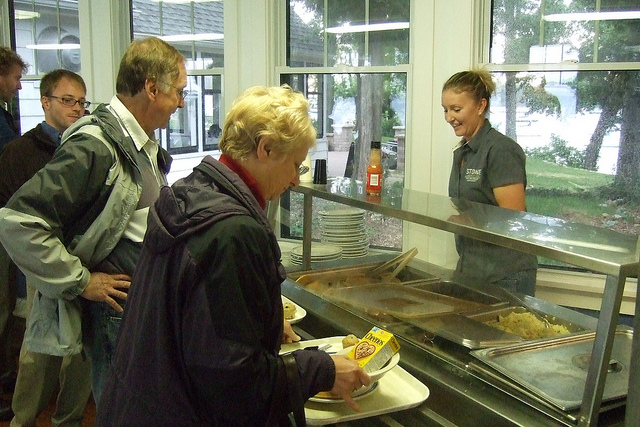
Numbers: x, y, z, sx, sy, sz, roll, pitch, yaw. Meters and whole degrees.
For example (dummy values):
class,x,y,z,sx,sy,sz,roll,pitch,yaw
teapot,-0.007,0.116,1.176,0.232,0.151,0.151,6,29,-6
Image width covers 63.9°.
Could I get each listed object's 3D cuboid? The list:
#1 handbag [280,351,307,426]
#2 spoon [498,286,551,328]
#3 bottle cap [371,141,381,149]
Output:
class,x,y,z,sx,sy,sz,roll,pitch,yaw
handbag,-0.070,0.577,1.670,0.050,0.289,0.102,-5,22,-11
spoon,0.756,0.337,1.885,0.022,0.091,0.204,-10,18,-39
bottle cap,0.274,-0.332,2.484,0.036,0.026,0.035,-2,6,-38
